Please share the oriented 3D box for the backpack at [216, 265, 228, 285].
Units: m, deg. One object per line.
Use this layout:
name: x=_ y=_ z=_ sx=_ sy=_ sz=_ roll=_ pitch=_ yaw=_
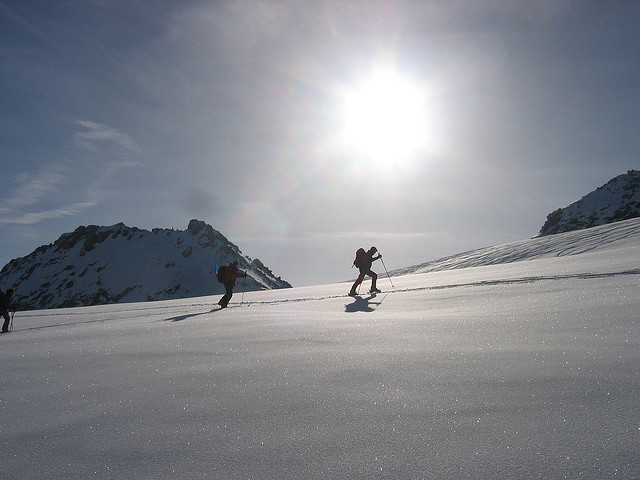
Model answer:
backpack: x=-4.280 y=1.517 z=17.531 sx=0.449 sy=0.741 sz=1.046 roll=0 pitch=-3 yaw=-15
